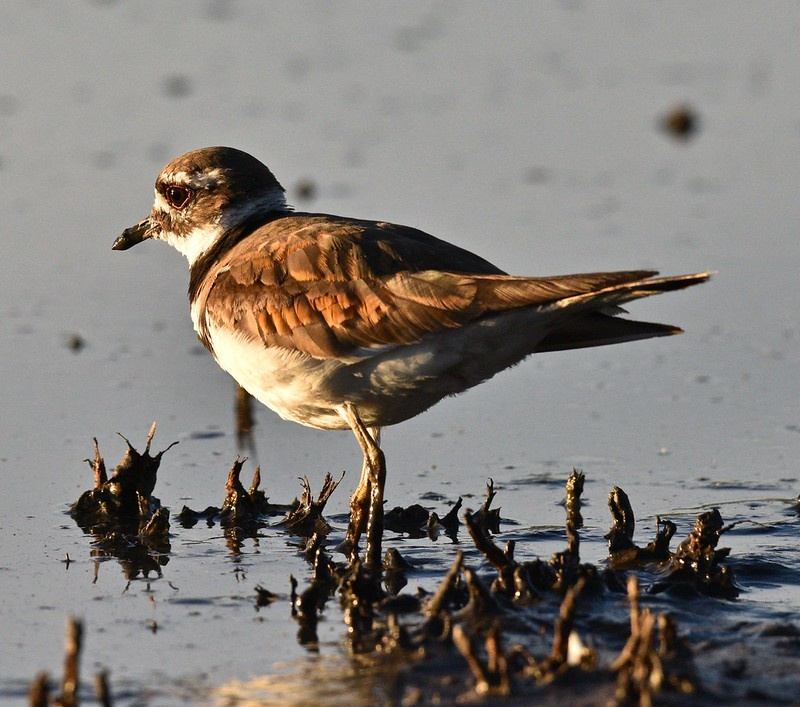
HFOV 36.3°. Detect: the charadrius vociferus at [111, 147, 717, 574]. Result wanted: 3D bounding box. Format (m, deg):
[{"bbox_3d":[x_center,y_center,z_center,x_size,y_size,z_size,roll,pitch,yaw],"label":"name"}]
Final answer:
[{"bbox_3d":[-0.323,-0.226,6.983,2.748,2.104,4.582,0,-1,-17],"label":"charadrius vociferus"}]
